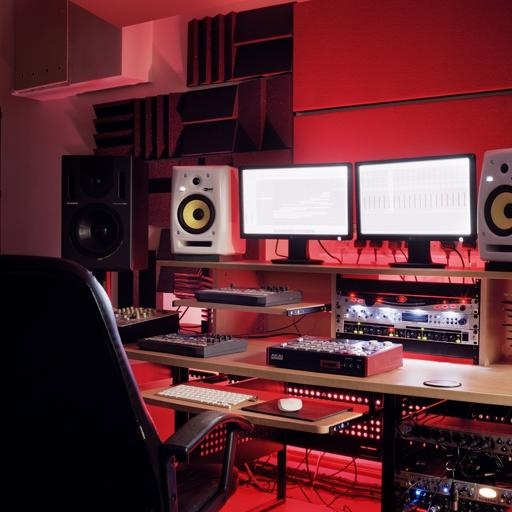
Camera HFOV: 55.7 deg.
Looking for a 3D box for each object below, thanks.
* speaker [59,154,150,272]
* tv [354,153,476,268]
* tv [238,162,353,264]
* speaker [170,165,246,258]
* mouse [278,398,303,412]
[{"bbox_3d":[-0.762,-0.202,2.466,0.342,0.582,0.318,-3,-5,-7],"label":"speaker"},{"bbox_3d":[0.665,-0.178,2.025,0.482,0.456,0.141,2,10,38],"label":"tv"},{"bbox_3d":[0.198,-0.213,2.289,0.508,0.432,0.126,0,-1,23],"label":"tv"},{"bbox_3d":[-0.252,-0.216,2.442,0.321,0.434,0.305,1,-5,4],"label":"speaker"},{"bbox_3d":[0.119,0.521,1.735,0.086,0.040,0.128,2,-1,-9],"label":"mouse"}]
